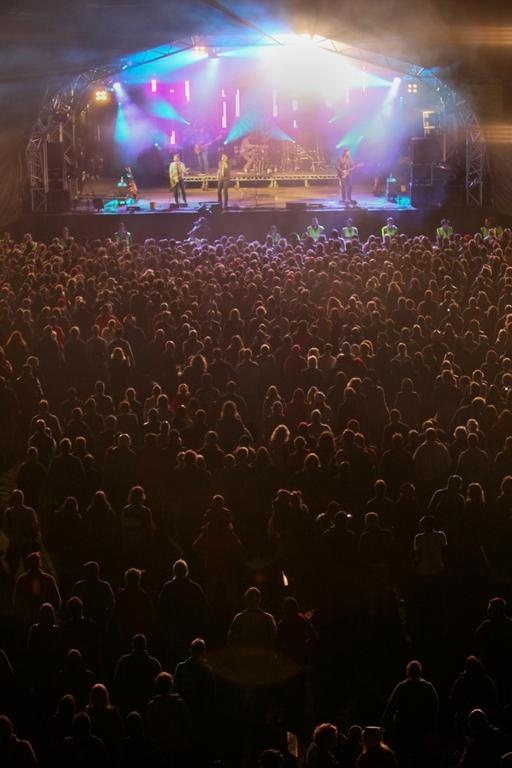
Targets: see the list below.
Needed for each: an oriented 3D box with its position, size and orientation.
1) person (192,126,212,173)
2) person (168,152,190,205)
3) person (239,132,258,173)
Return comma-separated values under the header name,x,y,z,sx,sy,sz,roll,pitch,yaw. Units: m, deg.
name,x,y,z,sx,sy,sz,roll,pitch,yaw
person,-2.708,-11.677,32.257,0.762,2.224,1.009,1,11,6
person,-2.697,-7.159,22.161,0.575,2.420,0.703,-2,-26,7
person,-0.391,-11.841,33.045,0.848,1.794,0.382,-1,10,-1
